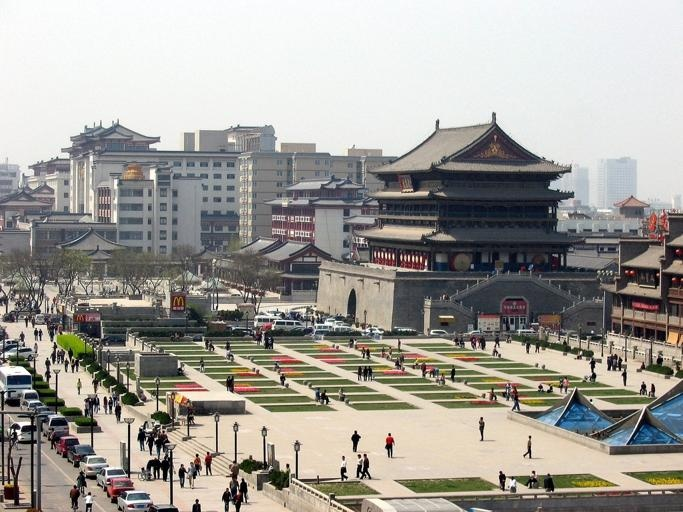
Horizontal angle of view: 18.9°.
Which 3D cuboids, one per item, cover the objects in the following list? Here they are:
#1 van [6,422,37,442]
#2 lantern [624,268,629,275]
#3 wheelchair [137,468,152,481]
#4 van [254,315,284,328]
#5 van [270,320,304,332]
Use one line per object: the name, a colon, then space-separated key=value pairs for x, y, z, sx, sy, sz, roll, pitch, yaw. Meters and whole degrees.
van: x=-27.090 y=15.075 z=172.862 sx=2.246 sy=1.578 sz=4.798 roll=0 pitch=5 yaw=-19
lantern: x=31.227 y=1.608 z=224.347 sx=0.536 sy=0.473 sz=0.496 roll=-4 pitch=-8 yaw=43
wheelchair: x=-15.962 y=18.026 z=166.631 sx=0.882 sy=1.101 sz=0.968 roll=4 pitch=-5 yaw=-33
van: x=-8.752 y=7.744 z=239.791 sx=2.724 sy=1.271 sz=1.526 roll=-2 pitch=4 yaw=-7
van: x=-6.351 y=8.060 z=237.803 sx=2.639 sy=1.249 sz=1.609 roll=-2 pitch=2 yaw=-6
